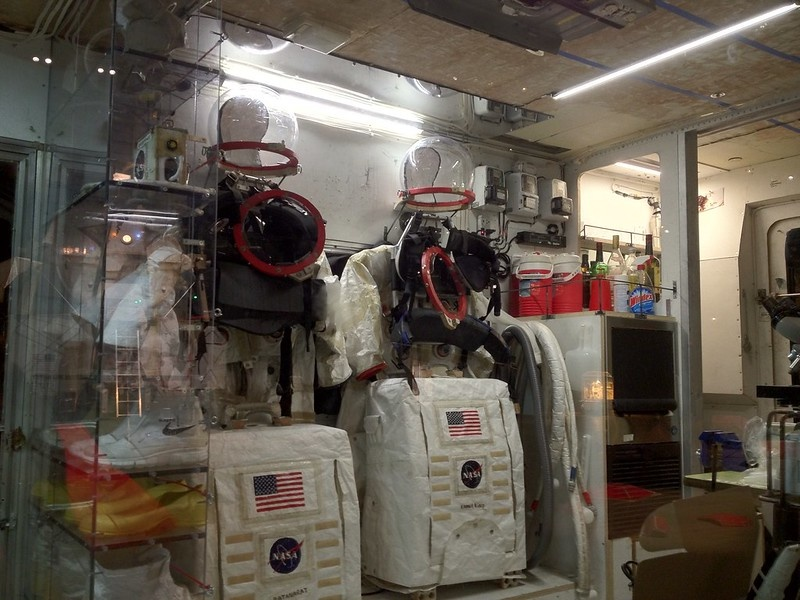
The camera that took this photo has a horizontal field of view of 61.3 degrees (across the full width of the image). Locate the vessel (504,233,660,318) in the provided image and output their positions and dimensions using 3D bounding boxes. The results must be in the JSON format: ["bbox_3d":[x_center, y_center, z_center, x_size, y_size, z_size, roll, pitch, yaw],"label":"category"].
[{"bbox_3d":[1.241,-0.119,4.856,0.915,0.880,0.510,3,-10,-1],"label":"vessel"}]

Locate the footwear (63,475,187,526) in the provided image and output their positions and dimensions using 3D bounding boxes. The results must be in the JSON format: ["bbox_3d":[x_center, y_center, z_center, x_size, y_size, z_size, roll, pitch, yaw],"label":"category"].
[{"bbox_3d":[-1.046,0.816,2.630,0.354,0.127,0.243,13,1,-40],"label":"footwear"}]

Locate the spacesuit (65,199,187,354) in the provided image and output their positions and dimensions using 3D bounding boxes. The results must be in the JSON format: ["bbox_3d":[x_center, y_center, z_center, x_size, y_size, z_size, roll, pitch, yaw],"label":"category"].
[{"bbox_3d":[-1.146,-0.109,2.692,0.526,0.604,0.317,2,-4,18],"label":"spacesuit"}]

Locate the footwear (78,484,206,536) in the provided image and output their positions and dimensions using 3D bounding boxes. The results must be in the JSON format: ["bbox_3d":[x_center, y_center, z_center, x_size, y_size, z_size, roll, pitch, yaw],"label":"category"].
[{"bbox_3d":[-1.009,0.781,2.634,0.329,0.115,0.214,12,-8,-42],"label":"footwear"}]

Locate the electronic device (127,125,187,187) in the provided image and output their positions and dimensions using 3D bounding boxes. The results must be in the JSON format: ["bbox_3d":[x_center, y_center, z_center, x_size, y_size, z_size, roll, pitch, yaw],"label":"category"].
[{"bbox_3d":[-0.959,-0.581,2.718,0.160,0.228,0.228,2,1,-35],"label":"electronic device"}]

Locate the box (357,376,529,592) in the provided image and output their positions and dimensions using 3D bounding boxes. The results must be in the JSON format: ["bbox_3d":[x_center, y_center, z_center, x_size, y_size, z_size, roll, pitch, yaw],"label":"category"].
[{"bbox_3d":[0.287,1.060,3.995,0.878,1.162,0.372,5,-4,-26],"label":"box"}]
